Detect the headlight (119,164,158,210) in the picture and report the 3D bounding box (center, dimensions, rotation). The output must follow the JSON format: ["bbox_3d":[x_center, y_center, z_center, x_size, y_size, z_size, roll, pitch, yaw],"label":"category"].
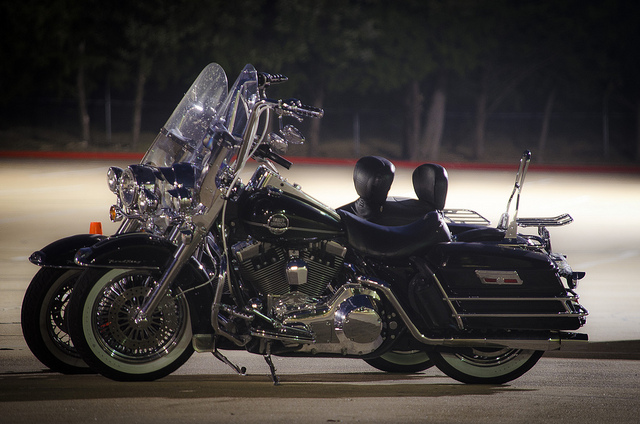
[{"bbox_3d":[-1.583,-0.222,6.978,0.442,0.382,0.318,-4,15,-42],"label":"headlight"}]

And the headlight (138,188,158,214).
[{"bbox_3d":[-1.549,-0.099,6.780,0.164,0.271,0.215,-5,12,-45],"label":"headlight"}]
